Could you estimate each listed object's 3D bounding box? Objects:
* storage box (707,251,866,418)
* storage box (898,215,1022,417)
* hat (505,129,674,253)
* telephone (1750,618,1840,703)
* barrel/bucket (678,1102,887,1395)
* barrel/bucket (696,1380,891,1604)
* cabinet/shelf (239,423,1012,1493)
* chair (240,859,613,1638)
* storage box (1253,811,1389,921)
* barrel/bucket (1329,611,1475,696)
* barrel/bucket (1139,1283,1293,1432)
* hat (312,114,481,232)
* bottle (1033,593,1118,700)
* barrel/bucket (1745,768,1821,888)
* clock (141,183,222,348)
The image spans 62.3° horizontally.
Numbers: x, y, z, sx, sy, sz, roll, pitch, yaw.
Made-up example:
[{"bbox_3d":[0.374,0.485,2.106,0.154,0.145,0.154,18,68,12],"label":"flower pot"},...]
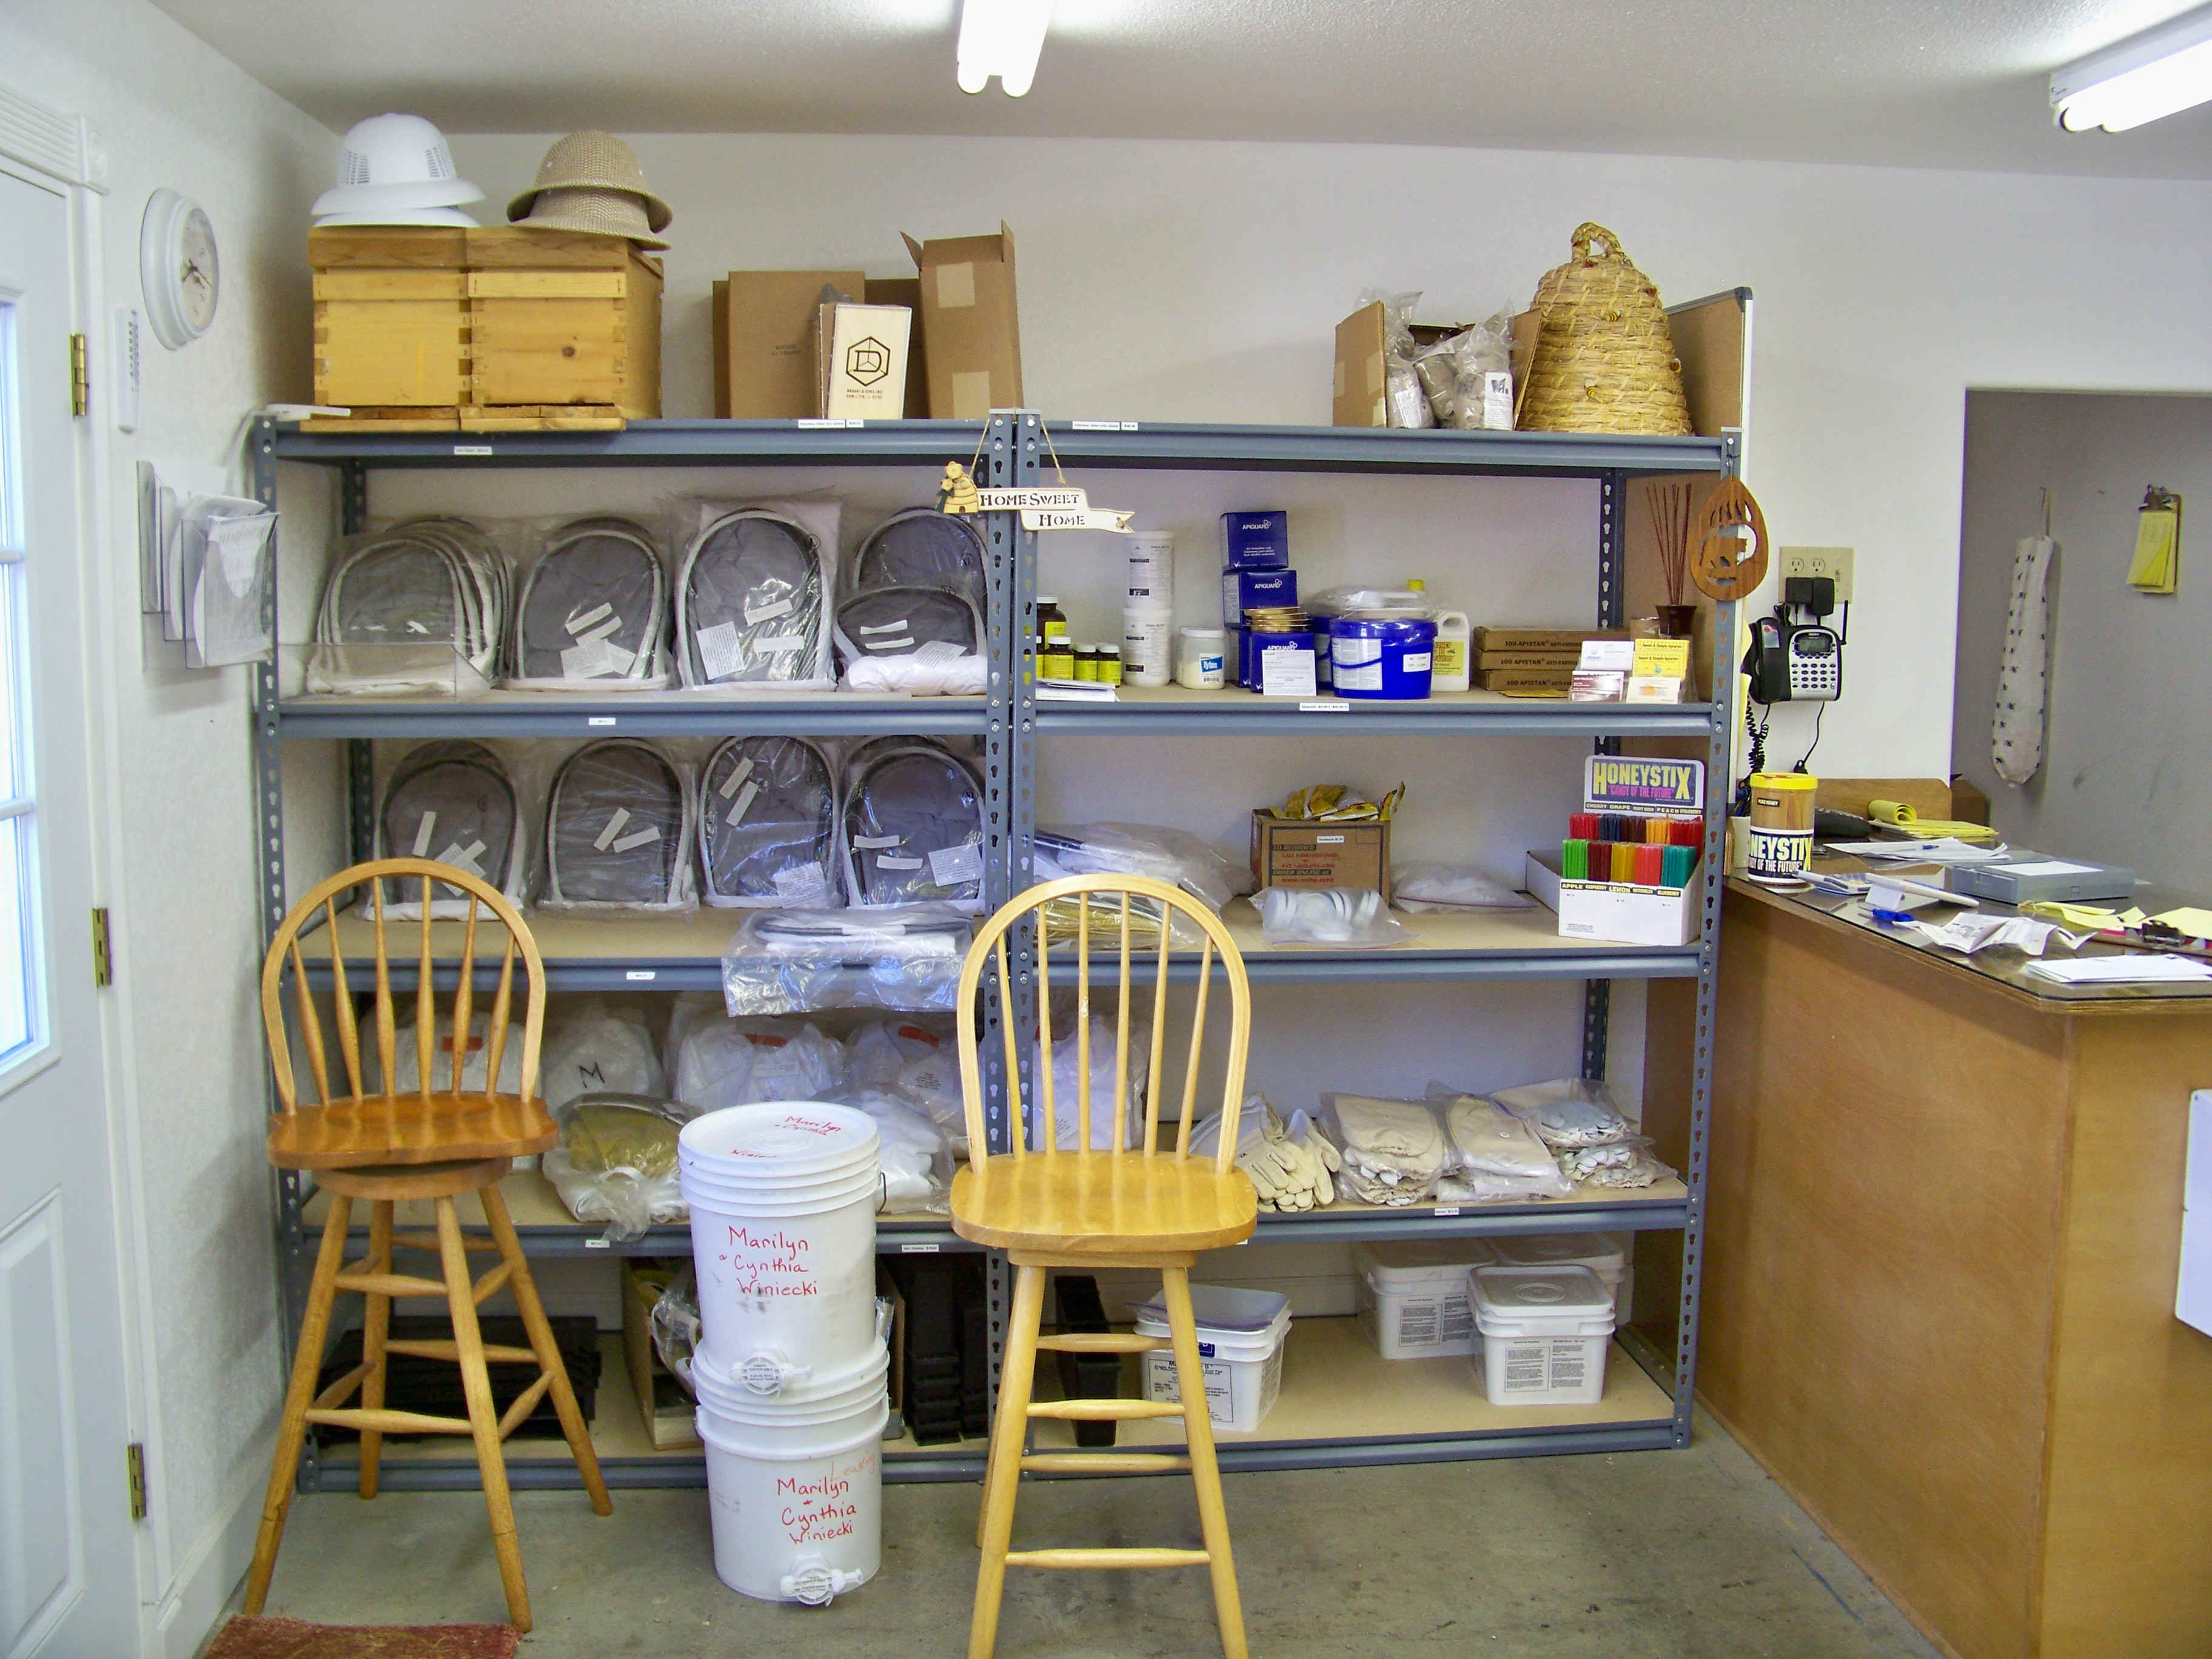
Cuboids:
[{"bbox_3d":[-0.725,-1.066,4.075,0.469,0.427,0.327,0,3,-3],"label":"storage box"},{"bbox_3d":[-0.309,-1.096,3.987,0.217,0.400,0.207,-2,8,-8],"label":"storage box"},{"bbox_3d":[-1.087,-1.291,3.846,0.303,0.176,0.317,-2,10,-22],"label":"hat"},{"bbox_3d":[1.668,-0.419,4.442,0.210,0.177,0.112,0,2,-11],"label":"telephone"},{"bbox_3d":[-0.640,0.863,3.722,0.458,0.487,0.473,-2,-6,0],"label":"barrel/bucket"},{"bbox_3d":[-0.615,1.280,3.763,0.419,0.395,0.421,0,1,0],"label":"barrel/bucket"},{"bbox_3d":[-1.050,0.290,3.937,2.350,2.043,0.695,0,5,-5],"label":"cabinet/shelf"},{"bbox_3d":[-1.462,0.761,3.860,0.711,1.444,1.070,-4,9,-18],"label":"chair"},{"bbox_3d":[0.490,0.083,4.157,0.294,0.222,0.181,0,8,5],"label":"storage box"},{"bbox_3d":[0.670,-0.390,4.063,0.314,0.176,0.179,0,5,-4],"label":"barrel/bucket"},{"bbox_3d":[0.254,1.205,4.218,0.320,0.229,0.384,5,0,11],"label":"barrel/bucket"},{"bbox_3d":[-1.440,-1.324,3.725,0.307,0.151,0.251,4,14,35],"label":"hat"},{"bbox_3d":[-0.065,-0.407,4.020,0.221,0.202,0.213,2,5,6],"label":"bottle"},{"bbox_3d":[1.545,-0.003,4.163,0.206,0.230,0.202,0,5,0],"label":"barrel/bucket"},{"bbox_3d":[-1.803,-1.080,3.517,0.080,0.309,0.318,12,-4,-14],"label":"clock"}]
